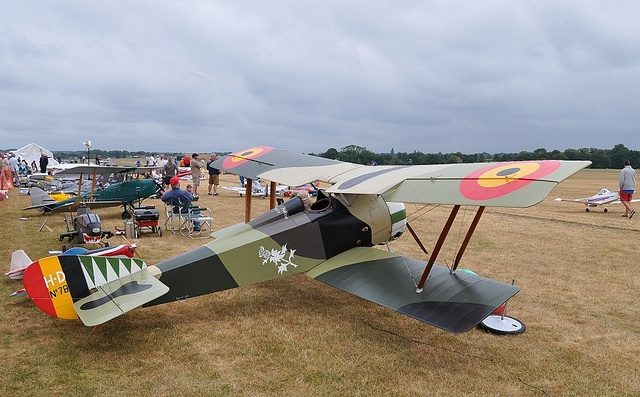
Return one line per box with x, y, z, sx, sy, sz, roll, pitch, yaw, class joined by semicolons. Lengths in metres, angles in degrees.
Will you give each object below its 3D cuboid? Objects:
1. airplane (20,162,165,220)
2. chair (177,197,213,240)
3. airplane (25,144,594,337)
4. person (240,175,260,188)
-9.277;-0.051;16.699;4.357;1.420;5.712;-7;2;-21;airplane
-4.438;0.677;14.365;1.002;1.353;1.389;-3;8;-41;chair
-0.217;0.452;10.464;10.311;3.457;6.975;1;8;2;airplane
-3.141;-0.766;18.081;0.890;0.505;1.344;-3;11;-27;person
